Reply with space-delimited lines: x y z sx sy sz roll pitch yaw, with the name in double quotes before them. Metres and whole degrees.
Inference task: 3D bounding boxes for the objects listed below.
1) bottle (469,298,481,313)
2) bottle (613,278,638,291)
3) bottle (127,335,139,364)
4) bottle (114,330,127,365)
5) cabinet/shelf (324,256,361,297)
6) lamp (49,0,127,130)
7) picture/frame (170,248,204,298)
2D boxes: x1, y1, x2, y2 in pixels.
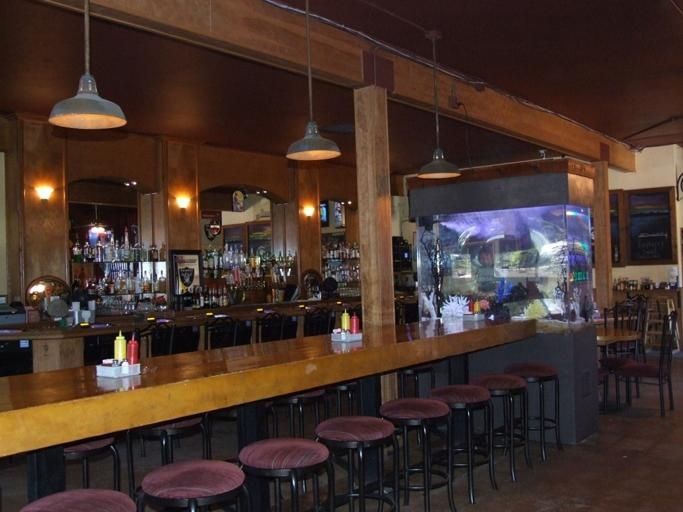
"bottle" 1.339 0.495 6.242 0.107 0.198 0.116 -1 4 0
"bottle" 5.467 0.556 11.883 0.395 0.231 0.273 6 -4 17
"bottle" -1.321 0.605 3.894 0.063 0.176 0.119 -3 1 -25
"bottle" -1.416 0.581 3.942 0.080 0.202 0.260 -3 1 -21
"cabinet/shelf" -0.001 0.402 12.788 0.748 0.734 0.799 -3 1 -3
"lamp" -1.889 -1.434 4.559 0.515 0.976 1.174 -3 1 -23
"picture/frame" -2.535 0.293 9.994 0.714 1.004 0.094 4 -9 -43
